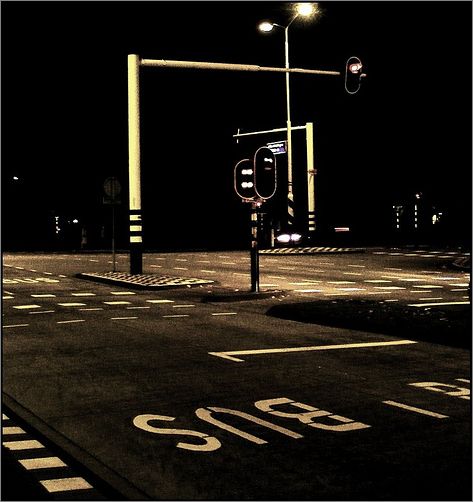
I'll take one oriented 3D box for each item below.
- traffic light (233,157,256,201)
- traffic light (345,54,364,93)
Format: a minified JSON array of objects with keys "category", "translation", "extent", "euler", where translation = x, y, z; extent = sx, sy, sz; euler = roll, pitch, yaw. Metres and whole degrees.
[{"category":"traffic light","translation":[0.206,-1.774,17.822],"extent":[0.512,1.062,0.971],"euler":[0,1,2]},{"category":"traffic light","translation":[3.547,-5.281,21.724],"extent":[0.371,1.132,0.719],"euler":[-1,1,-32]}]
